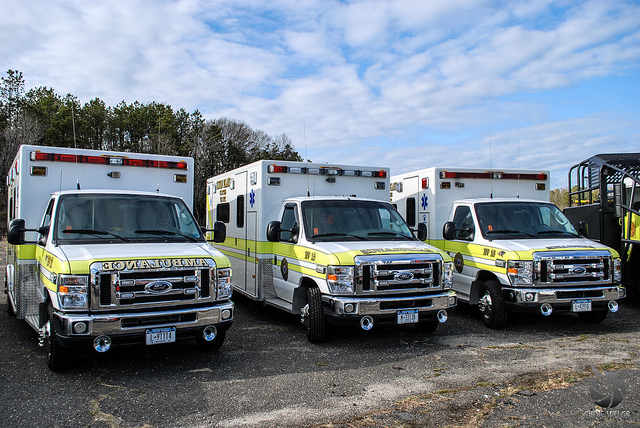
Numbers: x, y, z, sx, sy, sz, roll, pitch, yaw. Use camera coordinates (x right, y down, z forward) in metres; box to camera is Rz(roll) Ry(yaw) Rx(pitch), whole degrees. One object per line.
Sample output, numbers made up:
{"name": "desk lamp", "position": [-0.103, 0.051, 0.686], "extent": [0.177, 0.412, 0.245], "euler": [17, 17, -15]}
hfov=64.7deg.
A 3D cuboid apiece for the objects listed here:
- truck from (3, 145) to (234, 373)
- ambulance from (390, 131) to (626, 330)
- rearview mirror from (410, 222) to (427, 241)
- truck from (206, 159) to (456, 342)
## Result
{"name": "truck", "position": [-4.317, 0.542, 10.297], "extent": [3.116, 2.873, 5.595], "euler": [1, -5, -30]}
{"name": "ambulance", "position": [4.431, 0.472, 13.550], "extent": [3.689, 3.650, 7.105], "euler": [1, -2, -21]}
{"name": "rearview mirror", "position": [2.178, 0.377, 11.003], "extent": [0.390, 0.231, 0.372], "euler": [1, 0, -9]}
{"name": "truck", "position": [-0.193, 0.593, 12.530], "extent": [3.560, 3.613, 7.447], "euler": [0, 0, -26]}
